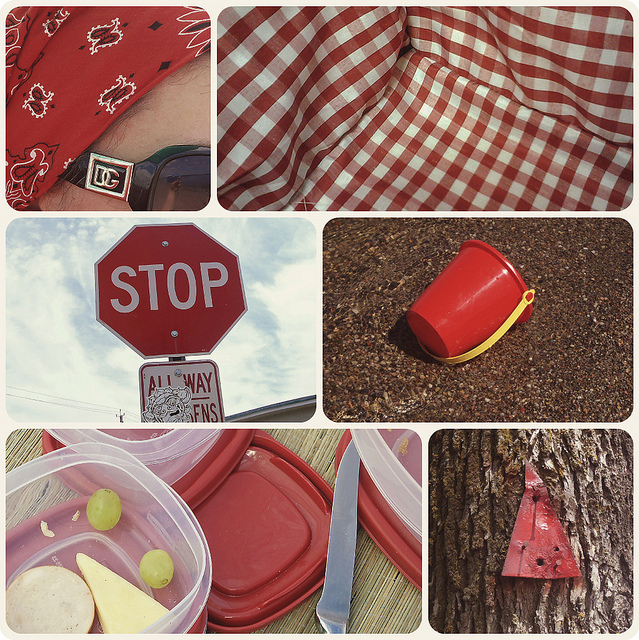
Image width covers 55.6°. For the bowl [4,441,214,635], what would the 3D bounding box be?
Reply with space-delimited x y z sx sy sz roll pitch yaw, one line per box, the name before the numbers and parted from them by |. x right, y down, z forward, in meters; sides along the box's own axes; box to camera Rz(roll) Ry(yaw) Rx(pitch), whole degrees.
bowl | -0.359 0.370 1.019 0.378 0.069 0.315 5 72 5

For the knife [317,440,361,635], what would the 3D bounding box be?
knife | 0.037 0.375 1.009 0.042 0.027 0.350 5 74 4
